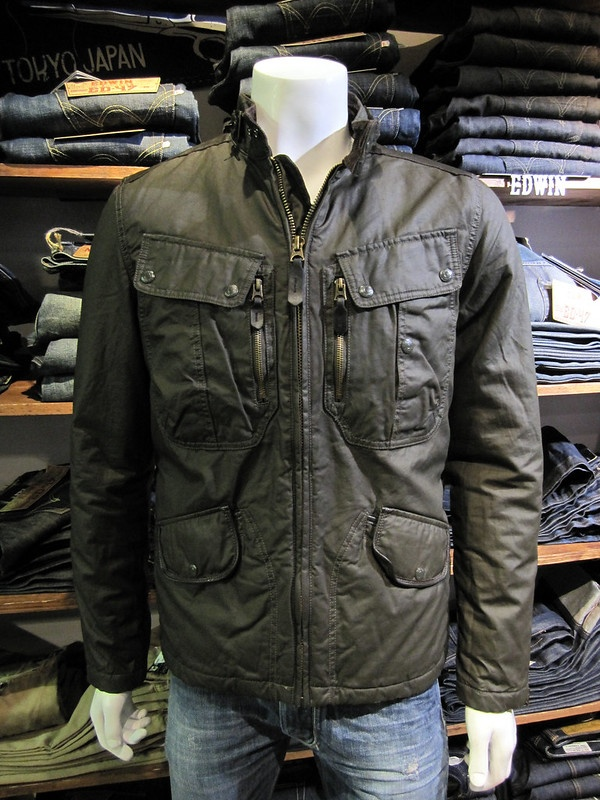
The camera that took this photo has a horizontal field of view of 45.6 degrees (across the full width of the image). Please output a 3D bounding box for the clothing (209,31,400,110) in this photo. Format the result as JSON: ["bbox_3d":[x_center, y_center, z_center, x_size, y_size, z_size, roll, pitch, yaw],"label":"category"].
[{"bbox_3d":[0.013,-0.582,1.251,0.309,0.088,0.300,-1,17,1],"label":"clothing"}]
